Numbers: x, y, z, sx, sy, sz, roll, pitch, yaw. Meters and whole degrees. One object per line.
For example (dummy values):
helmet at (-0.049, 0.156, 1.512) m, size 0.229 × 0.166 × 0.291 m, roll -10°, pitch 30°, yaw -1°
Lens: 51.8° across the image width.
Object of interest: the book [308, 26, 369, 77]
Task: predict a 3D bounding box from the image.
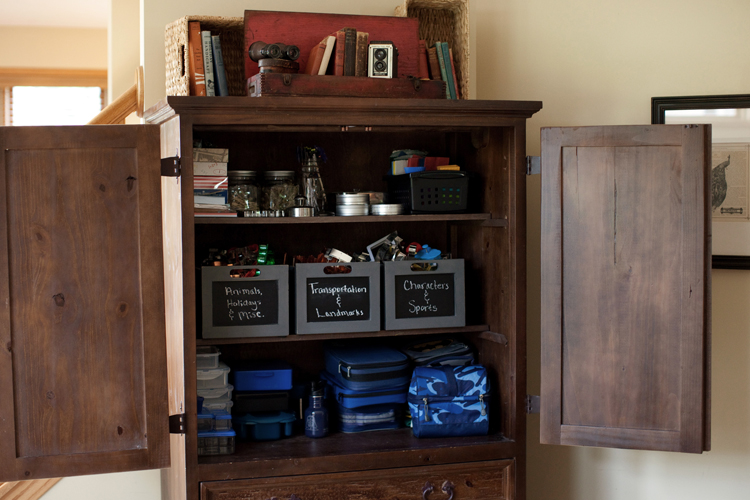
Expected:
book at (-0.171, -0.906, 3.547) m, size 0.141 × 0.239 × 0.252 m, roll 4°, pitch 8°, yaw -36°

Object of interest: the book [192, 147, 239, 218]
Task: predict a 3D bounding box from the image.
book at (-0.741, -0.311, 3.483) m, size 0.189 × 0.315 × 0.154 m, roll -6°, pitch 4°, yaw -22°

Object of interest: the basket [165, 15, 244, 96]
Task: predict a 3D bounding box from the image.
basket at (-0.791, -0.895, 3.752) m, size 0.370 × 0.412 × 0.444 m, roll -6°, pitch 14°, yaw 1°

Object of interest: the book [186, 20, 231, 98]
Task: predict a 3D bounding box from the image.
book at (-0.779, -0.886, 3.521) m, size 0.133 × 0.367 × 0.148 m, roll -1°, pitch 5°, yaw 33°

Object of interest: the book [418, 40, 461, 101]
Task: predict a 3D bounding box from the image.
book at (0.302, -0.848, 3.680) m, size 0.157 × 0.257 × 0.270 m, roll -16°, pitch 22°, yaw 6°

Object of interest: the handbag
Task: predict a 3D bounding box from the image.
handbag at (0.330, 0.704, 3.659) m, size 0.424 × 0.353 × 0.293 m, roll -1°, pitch -7°, yaw -2°

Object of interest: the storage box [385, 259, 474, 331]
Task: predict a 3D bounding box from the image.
storage box at (0.228, 0.214, 3.656) m, size 0.537 × 0.391 × 0.299 m, roll -1°, pitch 1°, yaw -8°

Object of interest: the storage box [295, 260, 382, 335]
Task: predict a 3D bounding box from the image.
storage box at (-0.203, 0.222, 3.747) m, size 0.552 × 0.454 × 0.297 m, roll 0°, pitch -3°, yaw -12°
